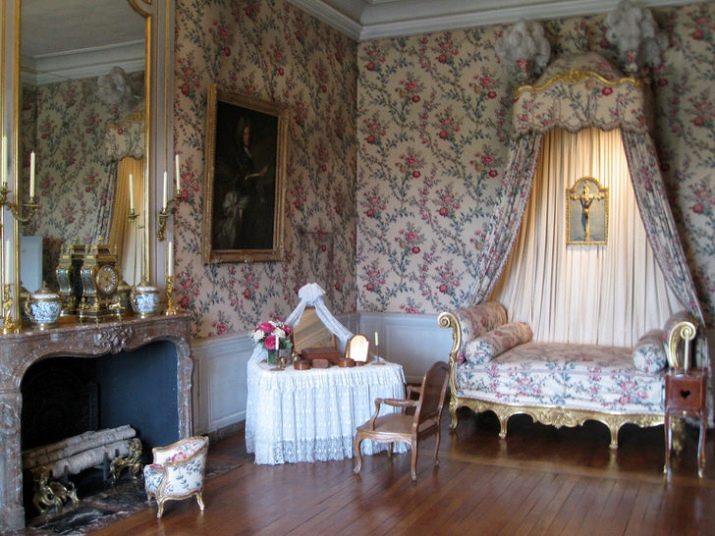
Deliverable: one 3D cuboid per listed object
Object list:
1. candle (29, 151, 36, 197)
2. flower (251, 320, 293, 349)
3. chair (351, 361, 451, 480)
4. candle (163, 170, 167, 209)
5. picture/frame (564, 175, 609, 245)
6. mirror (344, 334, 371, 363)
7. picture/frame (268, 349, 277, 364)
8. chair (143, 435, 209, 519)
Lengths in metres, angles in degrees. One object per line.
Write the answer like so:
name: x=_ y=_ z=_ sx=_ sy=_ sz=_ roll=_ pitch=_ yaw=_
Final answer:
candle: x=-2.132 y=-0.604 z=4.031 sx=0.045 sy=0.324 sz=0.226 roll=-3 pitch=5 yaw=-29
flower: x=-0.710 y=0.523 z=5.132 sx=0.241 sy=0.165 sz=0.242 roll=1 pitch=0 yaw=-36
chair: x=0.408 y=1.128 z=5.187 sx=0.769 sy=1.245 sz=0.810 roll=0 pitch=-2 yaw=30
candle: x=-1.530 y=-0.621 z=4.879 sx=0.039 sy=0.304 sz=0.175 roll=-2 pitch=5 yaw=-18
picture/frame: x=2.388 y=-0.599 z=6.400 sx=0.407 sy=0.768 sz=0.047 roll=3 pitch=32 yaw=26
mirror: x=0.000 y=0.697 z=5.237 sx=0.212 sy=0.320 sz=0.176 roll=2 pitch=-13 yaw=-10
picture/frame: x=-0.702 y=0.735 z=5.136 sx=0.092 sy=0.117 sz=0.095 roll=-2 pitch=-3 yaw=39
chair: x=-1.229 y=1.372 z=4.166 sx=0.426 sy=0.515 sz=0.375 roll=1 pitch=-1 yaw=-24
